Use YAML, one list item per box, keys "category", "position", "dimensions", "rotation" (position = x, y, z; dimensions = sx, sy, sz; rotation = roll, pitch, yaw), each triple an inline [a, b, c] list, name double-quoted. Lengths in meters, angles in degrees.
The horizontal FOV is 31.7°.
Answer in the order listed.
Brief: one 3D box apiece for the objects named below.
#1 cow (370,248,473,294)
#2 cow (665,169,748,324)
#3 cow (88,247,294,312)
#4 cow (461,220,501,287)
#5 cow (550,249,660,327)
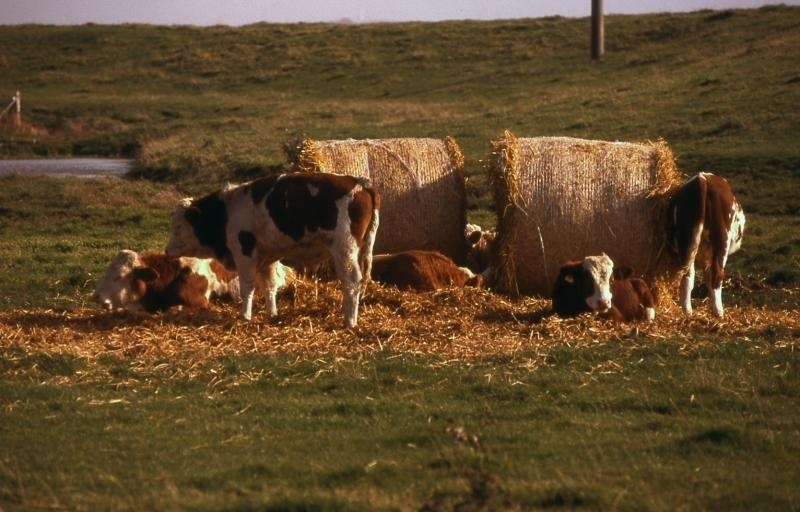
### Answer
- category: "cow"
  position: [0.308, 0.384, 32.516]
  dimensions: [2.654, 0.880, 1.410]
  rotation: [-1, -6, -31]
- category: "cow"
  position: [7.349, -0.479, 34.041]
  dimensions: [1.844, 3.418, 5.701]
  rotation: [1, 6, 13]
- category: "cow"
  position: [-4.806, 0.653, 33.028]
  dimensions: [5.046, 2.144, 1.651]
  rotation: [-2, 4, -17]
- category: "cow"
  position: [1.929, -0.052, 33.655]
  dimensions: [0.538, 1.667, 0.673]
  rotation: [-21, -37, 32]
- category: "cow"
  position: [4.682, 0.796, 31.596]
  dimensions: [1.486, 1.089, 2.611]
  rotation: [0, -5, 2]
